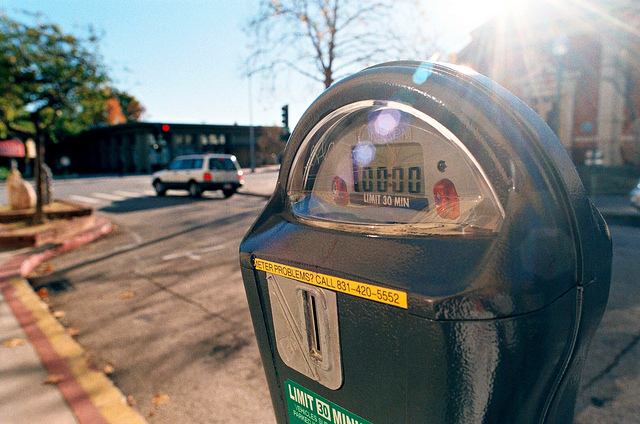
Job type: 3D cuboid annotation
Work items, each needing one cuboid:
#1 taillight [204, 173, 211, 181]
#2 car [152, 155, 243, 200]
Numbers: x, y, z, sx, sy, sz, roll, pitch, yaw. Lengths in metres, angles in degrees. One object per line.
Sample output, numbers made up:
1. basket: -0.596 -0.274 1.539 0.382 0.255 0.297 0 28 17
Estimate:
1. taillight: -3.430 -1.043 15.113 0.169 0.246 0.317 -7 -9 -20
2. car: -3.885 -1.230 15.854 2.686 1.173 1.286 13 15 39
